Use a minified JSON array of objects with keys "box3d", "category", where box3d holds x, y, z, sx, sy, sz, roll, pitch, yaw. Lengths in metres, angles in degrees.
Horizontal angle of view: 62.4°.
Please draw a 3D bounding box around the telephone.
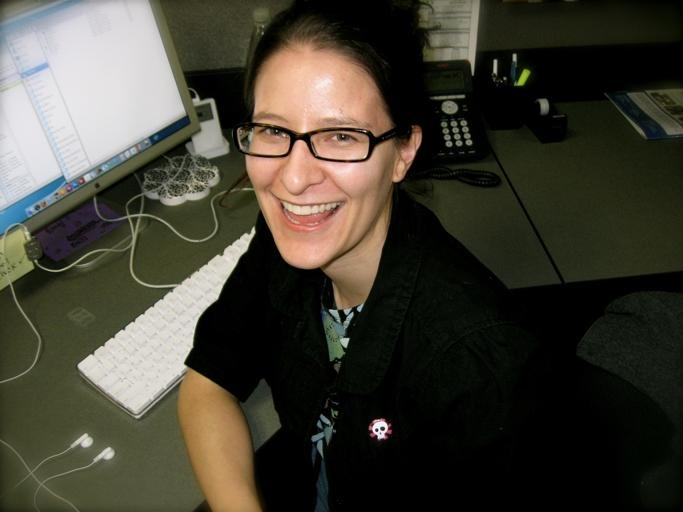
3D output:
[{"box3d":[0.345,-0.442,1.753,0.207,0.132,0.378,-6,77,-1],"category":"telephone"}]
